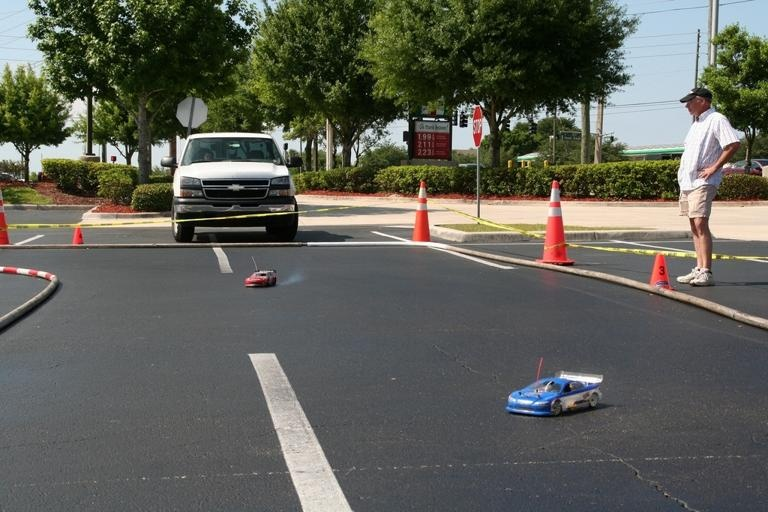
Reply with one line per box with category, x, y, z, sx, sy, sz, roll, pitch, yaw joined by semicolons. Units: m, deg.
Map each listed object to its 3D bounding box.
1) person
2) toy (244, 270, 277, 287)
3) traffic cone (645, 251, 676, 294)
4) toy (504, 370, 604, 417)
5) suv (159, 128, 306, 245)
person;4.313;-0.918;9.988;0.461;2.653;0.788;-9;14;-42
toy;-1.616;0.318;10.051;0.218;0.165;0.344;2;9;20
traffic cone;3.601;0.221;9.824;0.432;0.638;0.451;0;-4;4
toy;1.370;1.110;5.942;0.860;0.232;0.348;-4;12;-20
suv;-3.181;-1.390;15.179;2.051;2.412;5.882;0;2;-13
